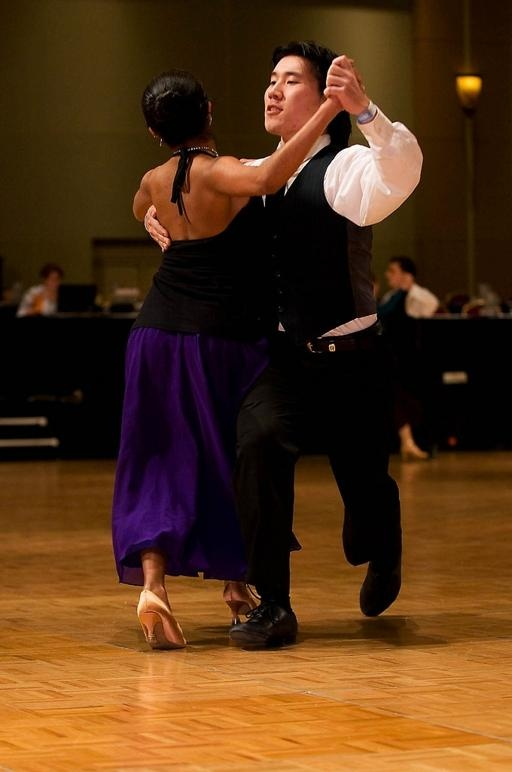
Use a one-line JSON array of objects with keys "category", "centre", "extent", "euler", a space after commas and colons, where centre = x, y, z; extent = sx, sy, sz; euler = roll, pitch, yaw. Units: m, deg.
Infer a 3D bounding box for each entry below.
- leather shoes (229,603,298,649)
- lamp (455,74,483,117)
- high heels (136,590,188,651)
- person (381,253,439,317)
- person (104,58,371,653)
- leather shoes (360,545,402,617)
[{"category": "leather shoes", "centre": [0.023, 0.587, 1.930], "extent": [0.161, 0.097, 0.084], "euler": [7, -21, -16]}, {"category": "lamp", "centre": [4.311, -5.957, 16.150], "extent": [0.502, 0.844, 0.360], "euler": [3, 10, 23]}, {"category": "high heels", "centre": [-0.234, 0.567, 1.896], "extent": [0.085, 0.114, 0.162], "euler": [-14, -32, 11]}, {"category": "person", "centre": [1.848, -1.176, 9.482], "extent": [0.714, 0.703, 0.882], "euler": [0, 12, 3]}, {"category": "person", "centre": [-0.154, -0.107, 2.067], "extent": [0.486, 1.391, 0.589], "euler": [-3, 9, -13]}, {"category": "leather shoes", "centre": [0.361, 0.582, 2.349], "extent": [0.091, 0.224, 0.104], "euler": [14, 13, 27]}]
